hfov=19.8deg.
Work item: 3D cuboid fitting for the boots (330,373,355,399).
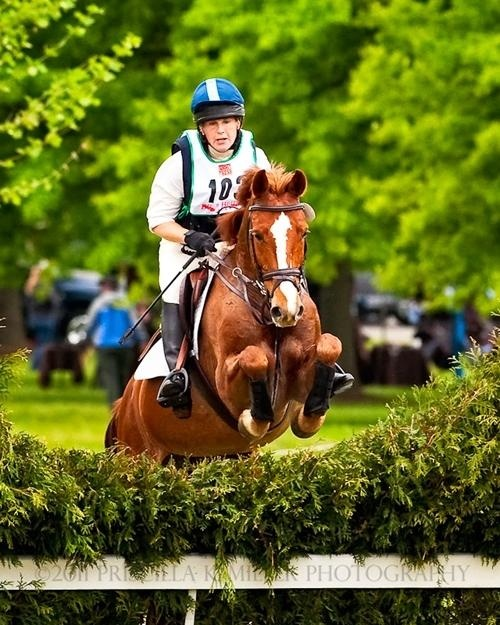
[{"bbox_3d":[0.418,0.344,6.874,0.150,0.066,0.080,-36,34,20],"label":"boots"}]

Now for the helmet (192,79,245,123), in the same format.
[{"bbox_3d":[-0.181,-1.070,7.369,0.206,0.142,0.279,-7,-13,1],"label":"helmet"}]
